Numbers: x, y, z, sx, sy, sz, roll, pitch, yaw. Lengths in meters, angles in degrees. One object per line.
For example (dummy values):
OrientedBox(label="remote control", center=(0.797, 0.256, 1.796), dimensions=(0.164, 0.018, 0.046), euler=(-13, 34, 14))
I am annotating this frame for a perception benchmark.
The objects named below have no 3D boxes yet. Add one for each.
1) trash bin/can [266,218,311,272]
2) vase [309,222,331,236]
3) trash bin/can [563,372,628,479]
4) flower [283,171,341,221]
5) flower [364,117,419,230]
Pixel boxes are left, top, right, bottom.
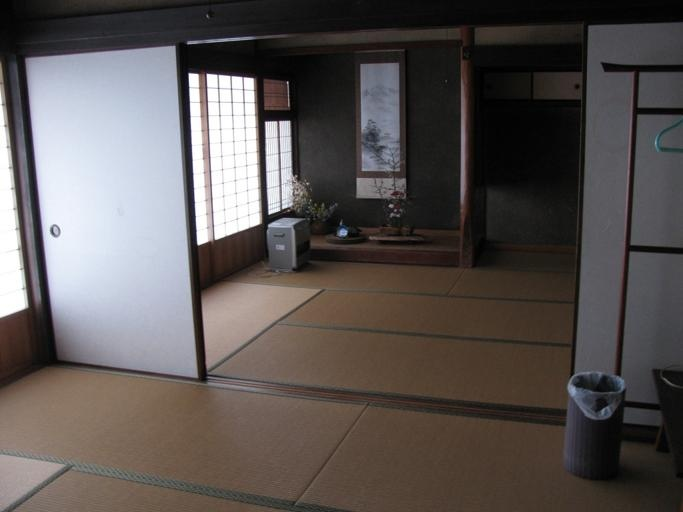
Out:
OrientedBox(label="trash bin/can", center=(-0.712, -0.166, 7.085), dimensions=(0.438, 0.659, 0.535), euler=(2, 17, 14))
OrientedBox(label="vase", center=(-0.334, -0.447, 8.201), dimensions=(0.208, 0.165, 0.211), euler=(-3, 6, -25))
OrientedBox(label="trash bin/can", center=(1.482, 0.972, 3.080), dimensions=(0.309, 0.510, 0.413), euler=(7, 18, 28))
OrientedBox(label="flower", center=(-0.467, -0.905, 8.233), dimensions=(0.731, 0.697, 0.420), euler=(1, 16, 11))
OrientedBox(label="flower", center=(0.729, -1.201, 7.722), dimensions=(0.653, 1.585, 0.905), euler=(-5, 16, -12))
